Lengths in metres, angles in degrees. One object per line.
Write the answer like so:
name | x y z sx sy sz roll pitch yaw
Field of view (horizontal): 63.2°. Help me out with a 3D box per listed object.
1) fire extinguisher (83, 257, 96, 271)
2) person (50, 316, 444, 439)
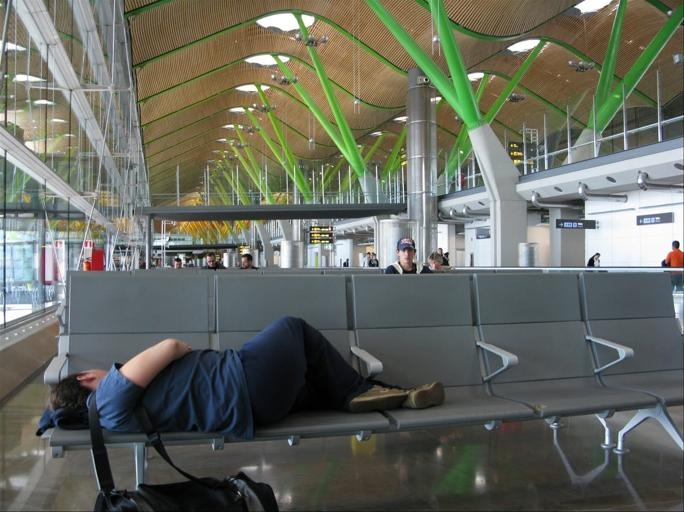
fire extinguisher | -5.136 0.188 11.367 0.248 0.281 0.248 0 -5 -4
person | -0.624 0.804 4.140 2.585 0.823 1.081 -4 -14 -10
